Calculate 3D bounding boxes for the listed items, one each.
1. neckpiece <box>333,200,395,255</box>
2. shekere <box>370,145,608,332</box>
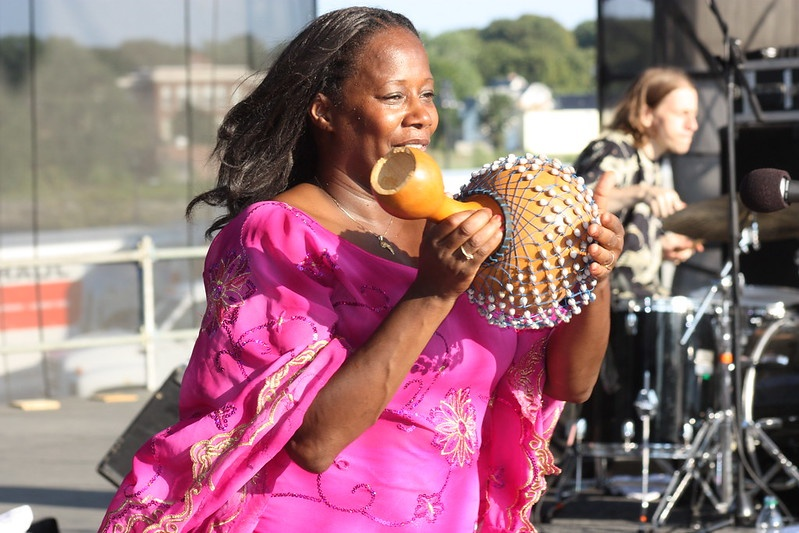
[{"bbox_3d":[-0.209,-0.203,8.437,0.502,0.083,0.020,38,12,25],"label":"neckpiece"},{"bbox_3d":[0.355,-0.154,8.432,1.189,0.855,0.718,23,-15,-17],"label":"shekere"}]
